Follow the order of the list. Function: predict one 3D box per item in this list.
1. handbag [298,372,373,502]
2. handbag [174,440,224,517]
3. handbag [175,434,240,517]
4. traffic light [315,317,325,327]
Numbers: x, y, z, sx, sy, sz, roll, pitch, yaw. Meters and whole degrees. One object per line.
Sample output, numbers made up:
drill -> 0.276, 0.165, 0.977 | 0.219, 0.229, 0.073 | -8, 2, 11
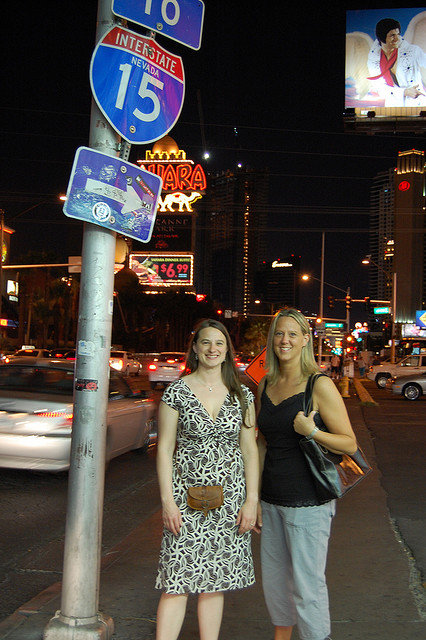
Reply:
handbag -> 0.601, 0.605, 2.736 | 0.340, 0.656, 0.341 | 2, -1, 15
handbag -> -0.078, 0.755, 2.529 | 0.249, 0.231, 0.126 | 2, -1, 13
handbag -> -0.025, 0.729, 2.561 | 0.308, 0.265, 0.189 | 2, -1, -8
traffic light -> 8.742, 0.211, 45.217 | 0.883, 0.865, 0.820 | -1, 5, -19
